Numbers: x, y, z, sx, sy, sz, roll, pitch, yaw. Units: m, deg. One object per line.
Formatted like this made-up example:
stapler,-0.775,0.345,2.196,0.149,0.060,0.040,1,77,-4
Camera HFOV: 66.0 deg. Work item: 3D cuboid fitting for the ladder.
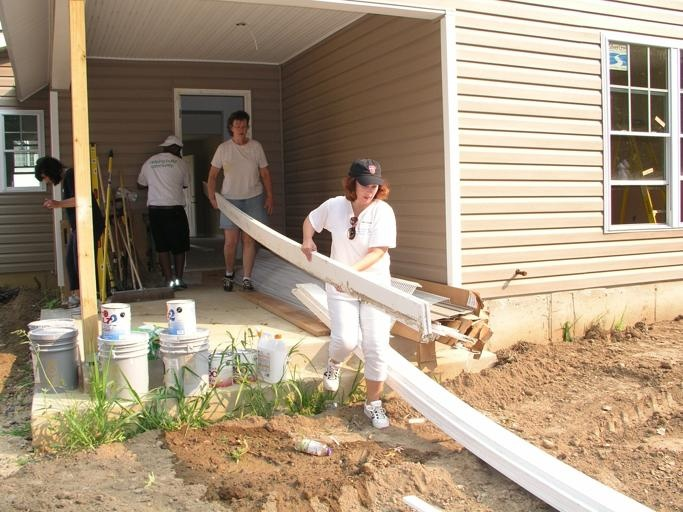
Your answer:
ladder,3.886,-1.101,6.860,1.174,1.370,0.063,-3,4,-21

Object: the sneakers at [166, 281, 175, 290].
sneakers,-2.300,0.399,7.121,0.098,0.126,0.039,-8,-26,-2

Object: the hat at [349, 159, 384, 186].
hat,0.178,-0.632,3.966,0.180,0.132,0.253,-3,15,-23

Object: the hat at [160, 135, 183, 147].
hat,-2.447,-1.665,7.699,0.217,0.124,0.315,4,7,27

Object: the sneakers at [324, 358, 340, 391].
sneakers,-0.062,0.964,4.297,0.105,0.117,0.300,14,22,-15

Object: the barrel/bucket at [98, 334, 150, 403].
barrel/bucket,-1.710,0.862,4.310,0.483,0.506,0.475,0,2,0

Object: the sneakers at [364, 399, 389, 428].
sneakers,0.278,1.264,4.240,0.114,0.129,0.288,-1,1,-23

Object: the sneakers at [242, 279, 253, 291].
sneakers,-1.251,0.375,7.100,0.144,0.159,0.160,0,15,-12

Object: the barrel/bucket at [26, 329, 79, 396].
barrel/bucket,-2.313,0.841,4.305,0.386,0.484,0.318,15,19,36

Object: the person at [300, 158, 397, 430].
person,0.150,0.321,4.123,0.572,2.117,0.892,-7,18,-33

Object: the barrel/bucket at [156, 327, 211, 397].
barrel/bucket,-1.286,0.866,4.409,0.474,0.475,0.451,0,4,0

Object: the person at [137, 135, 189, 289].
person,-2.472,-0.561,7.417,0.657,2.162,1.188,-2,16,-20

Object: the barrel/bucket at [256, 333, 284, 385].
barrel/bucket,-0.595,0.859,4.438,0.258,0.418,0.216,5,15,7
